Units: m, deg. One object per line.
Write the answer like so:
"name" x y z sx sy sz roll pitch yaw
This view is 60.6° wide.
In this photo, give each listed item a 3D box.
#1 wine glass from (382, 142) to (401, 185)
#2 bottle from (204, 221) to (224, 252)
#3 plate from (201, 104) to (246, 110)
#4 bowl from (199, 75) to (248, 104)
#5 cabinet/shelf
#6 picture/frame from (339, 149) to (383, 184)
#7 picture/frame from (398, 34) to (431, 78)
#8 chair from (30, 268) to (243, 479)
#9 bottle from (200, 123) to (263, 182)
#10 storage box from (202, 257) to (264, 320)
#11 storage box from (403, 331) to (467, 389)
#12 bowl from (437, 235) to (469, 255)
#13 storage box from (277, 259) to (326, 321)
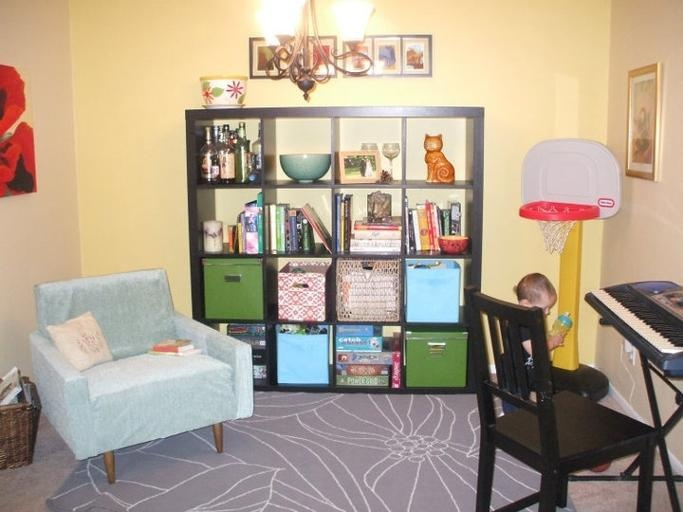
"wine glass" 0.364 -0.676 4.161 0.128 0.280 0.347 -1 9 5
"bottle" -0.881 -0.148 4.209 0.185 0.304 0.195 1 8 0
"plate" -0.797 -1.026 4.037 0.265 0.044 0.185 -4 9 -14
"bowl" -0.795 -1.124 3.998 0.222 0.143 0.226 0 8 0
"cabinet/shelf" -0.023 -0.019 4.040 1.879 1.840 0.508 -1 14 3
"picture/frame" 0.135 -0.612 4.024 0.235 0.203 0.016 -1 8 0
"picture/frame" 0.527 -1.441 4.166 0.270 0.327 0.024 -1 7 2
"chair" -1.228 0.669 3.514 1.206 1.029 1.223 7 10 31
"bottle" -0.768 -0.710 4.099 0.424 0.423 0.145 0 3 -2
"storage box" -0.699 0.204 4.319 0.509 0.516 0.403 0 7 4
"storage box" 0.665 0.719 4.246 0.402 0.387 0.403 0 6 1
"bowl" 0.769 -0.082 4.046 0.148 0.089 0.147 -1 6 0
"storage box" -0.260 0.231 4.269 0.356 0.374 0.383 2 7 3
